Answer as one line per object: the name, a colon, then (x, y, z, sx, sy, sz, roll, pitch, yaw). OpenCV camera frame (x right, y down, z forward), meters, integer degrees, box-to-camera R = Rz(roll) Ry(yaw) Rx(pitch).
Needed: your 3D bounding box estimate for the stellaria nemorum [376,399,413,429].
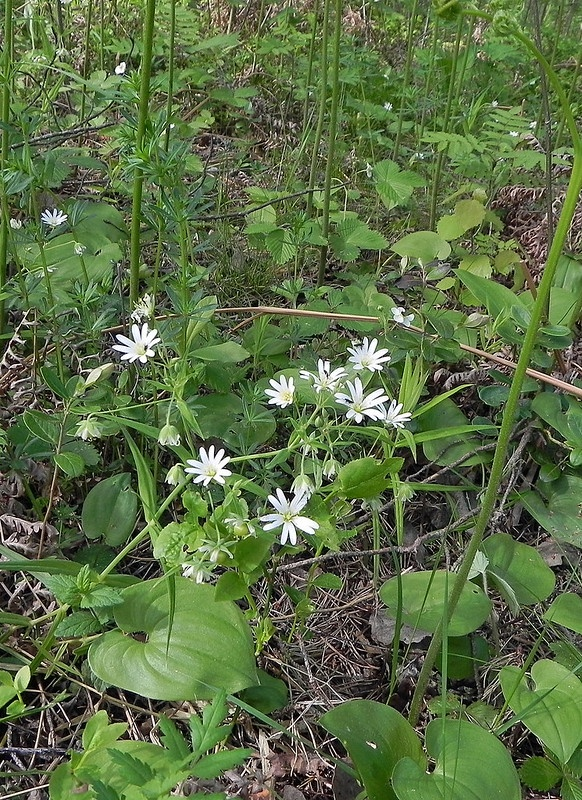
stellaria nemorum: (0.217, 0.033, 1.393, 0.073, 0.032, 0.069, 17, 63, -6)

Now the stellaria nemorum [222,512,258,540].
stellaria nemorum: (-0.091, 0.230, 1.196, 0.053, 0.022, 0.052, 18, 26, -52)
